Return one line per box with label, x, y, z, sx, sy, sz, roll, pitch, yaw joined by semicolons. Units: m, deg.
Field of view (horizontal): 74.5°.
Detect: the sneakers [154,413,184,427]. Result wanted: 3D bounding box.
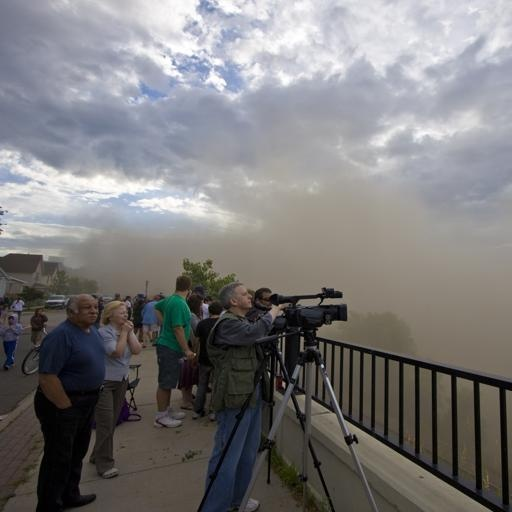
sneakers;-1.307;2.456;5.063;0.400;0.299;0.194;2;-3;-9
